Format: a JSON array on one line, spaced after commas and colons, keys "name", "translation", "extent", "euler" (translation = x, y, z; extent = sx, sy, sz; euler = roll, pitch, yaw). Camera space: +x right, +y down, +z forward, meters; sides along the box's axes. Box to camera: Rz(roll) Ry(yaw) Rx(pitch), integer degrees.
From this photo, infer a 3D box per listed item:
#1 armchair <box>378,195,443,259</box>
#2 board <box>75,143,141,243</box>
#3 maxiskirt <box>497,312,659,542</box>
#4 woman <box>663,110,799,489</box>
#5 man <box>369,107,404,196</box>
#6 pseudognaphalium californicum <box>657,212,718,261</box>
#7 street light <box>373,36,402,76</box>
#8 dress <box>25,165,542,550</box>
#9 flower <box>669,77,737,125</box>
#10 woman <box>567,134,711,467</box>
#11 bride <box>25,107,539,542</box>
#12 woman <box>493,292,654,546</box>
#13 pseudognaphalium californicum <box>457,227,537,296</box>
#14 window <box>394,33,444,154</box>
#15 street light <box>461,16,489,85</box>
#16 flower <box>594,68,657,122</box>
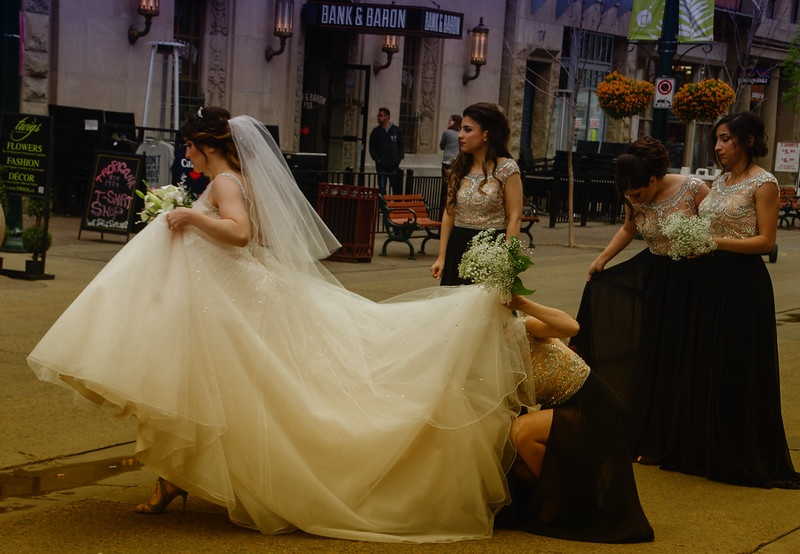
[{"name": "armchair", "translation": [0.198, -1.206, 12.830], "extent": [0.578, 0.937, 1.291], "euler": [12, -4, -40]}, {"name": "board", "translation": [-5.319, -1.424, 11.248], "extent": [0.951, 1.693, 0.811], "euler": [6, 7, -2]}, {"name": "maxiskirt", "translation": [1.244, 1.286, 4.181], "extent": [1.035, 1.738, 0.717], "euler": [4, -14, 4]}, {"name": "woman", "translation": [2.525, 0.131, 4.515], "extent": [0.950, 2.682, 0.711], "euler": [8, 12, 27]}, {"name": "man", "translation": [-0.385, -3.296, 17.171], "extent": [0.787, 3.101, 0.575], "euler": [-1, 34, -1]}, {"name": "pseudognaphalium californicum", "translation": [2.198, -0.289, 4.584], "extent": [0.392, 0.360, 0.322], "euler": [9, 13, 29]}, {"name": "street light", "translation": [-0.438, -6.803, 18.680], "extent": [0.798, 1.198, 0.480], "euler": [1, 11, -11]}, {"name": "dress", "translation": [-0.583, 0.661, 3.266], "extent": [2.207, 1.155, 1.801], "euler": [-9, 31, -41]}, {"name": "flower", "translation": [6.096, -3.473, 12.216], "extent": [0.858, 0.663, 1.022], "euler": [0, 2, 9]}, {"name": "woman", "translation": [1.944, 0.212, 4.909], "extent": [1.079, 2.499, 0.722], "euler": [1, 20, 31]}, {"name": "bride", "translation": [-0.673, 0.480, 3.803], "extent": [2.484, 1.785, 2.346], "euler": [10, 3, 1]}, {"name": "woman", "translation": [0.988, 0.809, 3.678], "extent": [0.862, 1.433, 0.685], "euler": [-5, -8, 19]}, {"name": "pseudognaphalium californicum", "translation": [0.564, -0.075, 3.579], "extent": [0.384, 0.466, 0.434], "euler": [-21, -15, 9]}, {"name": "window", "translation": [0.505, -5.984, 19.928], "extent": [0.283, 3.704, 1.542], "euler": [-15, 15, -15]}, {"name": "street light", "translation": [2.605, -7.686, 20.658], "extent": [0.604, 2.285, 0.484], "euler": [13, 14, 38]}, {"name": "flower", "translation": [5.040, -3.952, 13.537], "extent": [1.033, 0.865, 1.049], "euler": [3, 43, -1]}]
